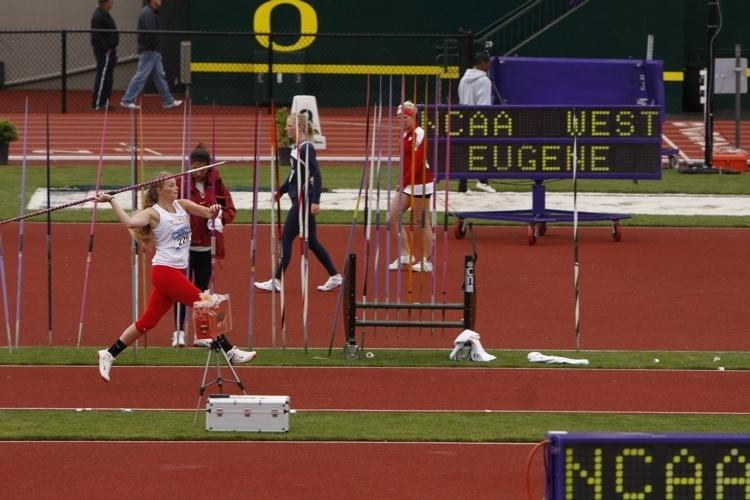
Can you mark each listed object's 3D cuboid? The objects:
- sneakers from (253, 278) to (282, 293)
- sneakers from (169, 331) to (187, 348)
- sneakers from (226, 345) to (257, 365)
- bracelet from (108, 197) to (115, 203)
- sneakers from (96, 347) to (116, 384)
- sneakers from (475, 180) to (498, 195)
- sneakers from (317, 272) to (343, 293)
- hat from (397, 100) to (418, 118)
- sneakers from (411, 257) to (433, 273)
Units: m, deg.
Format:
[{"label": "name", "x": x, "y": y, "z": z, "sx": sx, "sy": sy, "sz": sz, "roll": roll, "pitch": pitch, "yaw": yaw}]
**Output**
[{"label": "sneakers", "x": -1.888, "y": 0.599, "z": 35.361, "sx": 0.657, "sy": 0.271, "sz": 0.234, "roll": 3, "pitch": 2, "yaw": 1}, {"label": "sneakers", "x": -3.301, "y": 1.459, "z": 33.648, "sx": 0.255, "sy": 0.270, "sz": 0.643, "roll": 1, "pitch": -4, "yaw": -13}, {"label": "sneakers", "x": -2.191, "y": 1.665, "z": 32.847, "sx": 0.455, "sy": 0.222, "sz": 0.231, "roll": -2, "pitch": 33, "yaw": 16}, {"label": "bracelet", "x": -4.209, "y": -0.800, "z": 32.041, "sx": 0.105, "sy": 0.075, "sz": 0.104, "roll": 2, "pitch": 3, "yaw": -14}, {"label": "sneakers", "x": -4.345, "y": 1.815, "z": 32.475, "sx": 0.272, "sy": 0.572, "sz": 0.196, "roll": -16, "pitch": -9, "yaw": 3}, {"label": "sneakers", "x": 2.319, "y": -1.303, "z": 42.652, "sx": 0.523, "sy": 0.201, "sz": 0.177, "roll": 29, "pitch": 37, "yaw": 34}, {"label": "sneakers", "x": -0.731, "y": 0.562, "z": 35.593, "sx": 0.565, "sy": 0.238, "sz": 0.219, "roll": -16, "pitch": 34, "yaw": 39}, {"label": "hat", "x": 0.533, "y": -2.474, "z": 35.808, "sx": 0.403, "sy": 0.360, "sz": 0.306, "roll": 3, "pitch": -2, "yaw": -35}, {"label": "sneakers", "x": 0.873, "y": 0.265, "z": 36.114, "sx": 0.475, "sy": 0.211, "sz": 0.171, "roll": 2, "pitch": 8, "yaw": 13}]
